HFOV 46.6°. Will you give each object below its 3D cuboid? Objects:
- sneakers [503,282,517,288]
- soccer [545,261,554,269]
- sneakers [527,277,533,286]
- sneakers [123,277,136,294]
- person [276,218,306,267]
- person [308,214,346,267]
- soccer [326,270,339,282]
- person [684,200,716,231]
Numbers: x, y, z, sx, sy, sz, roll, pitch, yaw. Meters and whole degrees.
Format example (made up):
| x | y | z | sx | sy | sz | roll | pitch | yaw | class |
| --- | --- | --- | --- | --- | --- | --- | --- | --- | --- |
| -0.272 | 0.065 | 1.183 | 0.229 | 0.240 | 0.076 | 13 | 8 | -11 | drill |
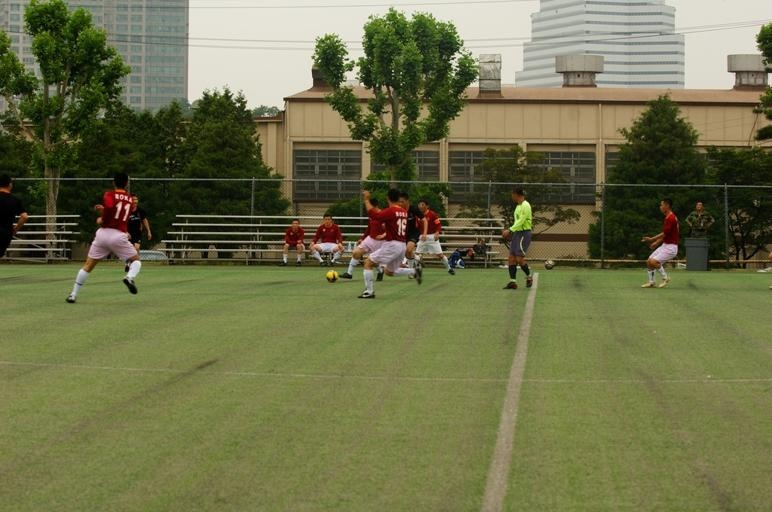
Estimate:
| x | y | z | sx | sy | sz | roll | pitch | yaw | class |
| --- | --- | --- | --- | --- | --- | --- | --- | --- | --- |
| 2.665 | 0.617 | 18.809 | 0.332 | 0.139 | 0.119 | 2 | 1 | 15 | sneakers |
| 5.310 | 0.299 | 28.307 | 0.330 | 0.245 | 0.257 | 1 | 20 | -5 | soccer |
| 3.070 | 0.562 | 18.938 | 0.140 | 0.167 | 0.306 | -1 | -4 | 5 | sneakers |
| -4.697 | 0.547 | 16.394 | 0.149 | 0.161 | 0.356 | -12 | -42 | 13 | sneakers |
| -2.848 | -0.408 | 27.891 | 0.695 | 1.475 | 2.203 | 1 | 6 | -6 | person |
| -1.653 | -0.471 | 25.764 | 1.055 | 1.399 | 0.817 | 0 | 11 | 8 | person |
| -1.205 | 0.470 | 20.444 | 0.279 | 0.255 | 0.266 | 7 | 5 | 0 | soccer |
| 8.965 | -1.056 | 25.422 | 0.655 | 0.948 | 1.719 | 4 | 7 | 22 | person |
